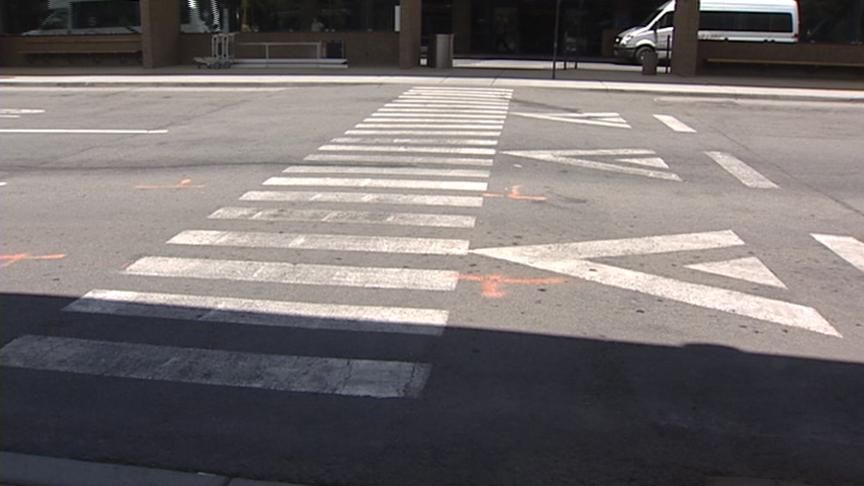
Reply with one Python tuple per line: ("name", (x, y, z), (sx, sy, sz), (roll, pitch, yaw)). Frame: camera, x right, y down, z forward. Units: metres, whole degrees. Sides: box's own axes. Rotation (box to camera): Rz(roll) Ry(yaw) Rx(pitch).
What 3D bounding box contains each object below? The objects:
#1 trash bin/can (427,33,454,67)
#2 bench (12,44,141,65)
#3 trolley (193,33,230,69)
("trash bin/can", (0.386, -9.468, 33.904), (1.319, 1.592, 1.675), (3, 38, 2))
("bench", (-18.252, -9.812, 36.418), (7.682, 0.984, 1.442), (1, 5, 8))
("trolley", (-10.648, -9.308, 33.648), (1.347, 1.746, 1.987), (25, 27, 35))
